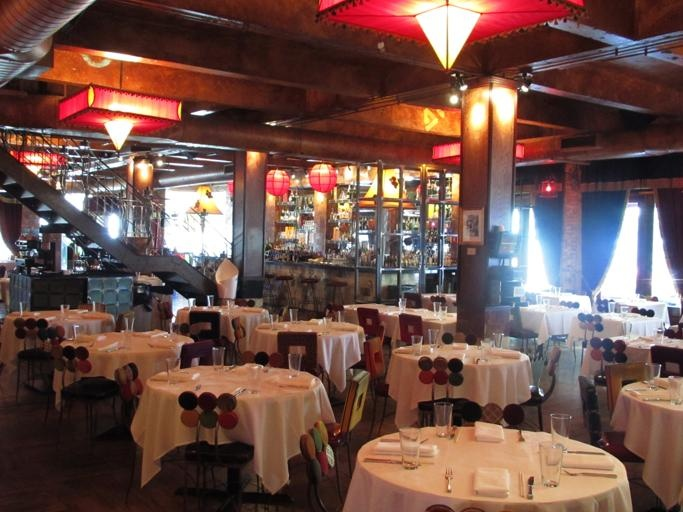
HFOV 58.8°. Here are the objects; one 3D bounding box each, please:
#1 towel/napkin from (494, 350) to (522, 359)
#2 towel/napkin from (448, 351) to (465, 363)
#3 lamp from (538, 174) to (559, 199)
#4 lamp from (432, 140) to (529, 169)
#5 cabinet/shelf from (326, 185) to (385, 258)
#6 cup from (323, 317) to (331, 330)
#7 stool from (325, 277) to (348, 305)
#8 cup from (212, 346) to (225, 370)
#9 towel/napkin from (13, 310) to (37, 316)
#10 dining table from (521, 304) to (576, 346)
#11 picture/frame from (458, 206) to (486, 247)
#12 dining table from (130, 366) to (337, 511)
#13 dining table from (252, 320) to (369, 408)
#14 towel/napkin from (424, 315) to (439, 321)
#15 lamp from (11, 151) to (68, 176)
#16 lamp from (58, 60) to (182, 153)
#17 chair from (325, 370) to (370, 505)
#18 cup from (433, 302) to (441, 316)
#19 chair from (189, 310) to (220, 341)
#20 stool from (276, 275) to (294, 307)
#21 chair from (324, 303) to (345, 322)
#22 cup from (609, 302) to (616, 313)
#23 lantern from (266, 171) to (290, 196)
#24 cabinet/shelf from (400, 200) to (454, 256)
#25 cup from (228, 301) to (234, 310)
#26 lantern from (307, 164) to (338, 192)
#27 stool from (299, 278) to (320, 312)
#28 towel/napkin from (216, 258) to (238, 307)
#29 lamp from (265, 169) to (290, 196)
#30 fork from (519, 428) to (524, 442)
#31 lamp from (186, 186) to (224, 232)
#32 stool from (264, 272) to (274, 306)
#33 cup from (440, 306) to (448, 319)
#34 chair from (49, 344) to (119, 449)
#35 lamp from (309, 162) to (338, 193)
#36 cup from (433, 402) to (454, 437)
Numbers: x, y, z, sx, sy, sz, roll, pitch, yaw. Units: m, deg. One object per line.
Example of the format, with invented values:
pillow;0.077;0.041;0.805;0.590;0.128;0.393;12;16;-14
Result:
towel/napkin;1.694;1.011;6.234;0.135;0.055;0.145;2;-1;3
towel/napkin;1.115;0.981;5.859;0.162;0.056;0.175;-5;1;7
lamp;4.867;-1.658;14.183;0.403;0.556;0.794;2;-2;20
lamp;2.583;-2.063;12.405;1.250;0.345;1.345;1;-1;-32
cabinet/shelf;0.359;-0.677;14.182;0.570;1.808;1.772;-3;-1;-27
cup;-0.191;0.863;7.721;0.091;0.164;0.128;-1;4;-21
stool;-0.127;0.822;14.197;0.529;0.752;0.524;2;-3;-26
cup;-1.108;0.922;5.466;0.100;0.175;0.237;3;-1;-13
towel/napkin;-4.180;0.774;8.021;0.224;0.066;0.232;3;1;41
dining table;3.405;1.051;9.896;0.625;0.395;0.716;-3;4;-14
picture/frame;1.869;-0.427;8.607;0.048;0.703;0.520;3;-2;-35
dining table;-0.831;1.308;4.956;1.198;0.720;1.294;1;-3;9
dining table;-0.314;1.165;7.388;1.047;0.643;1.042;5;-3;-40
towel/napkin;1.282;0.874;8.653;0.226;0.048;0.367;3;-2;-3
lamp;-6.522;-2.016;13.070;0.540;0.330;1.221;-11;21;-43
lamp;-3.339;-2.076;9.017;1.136;1.351;1.205;5;-7;-33
chair;-0.073;1.478;5.089;0.504;0.958;0.461;3;-2;14
cup;1.355;0.755;8.573;0.078;0.195;0.317;2;-2;5
chair;-1.723;0.872;7.653;0.352;0.414;0.363;3;0;-14
stool;-1.485;0.894;15.815;0.439;0.675;0.866;3;-1;-7
chair;-0.094;0.812;8.485;0.264;0.308;0.239;-1;5;4
cup;4.340;0.829;9.740;0.119;0.206;0.118;0;10;0
lantern;-1.572;-1.815;14.998;0.511;0.615;0.549;3;10;-6
cabinet/shelf;1.861;-0.644;13.673;1.045;1.158;0.347;2;4;-21
cup;-1.635;0.722;8.916;0.100;0.175;0.100;1;6;0
lantern;-0.419;-1.717;13.615;0.536;0.674;0.580;-1;2;3
stool;-0.790;0.948;15.109;0.653;0.994;0.664;1;-3;-34
towel/napkin;-2.319;0.567;12.360;0.332;0.631;0.412;-17;-19;23
lamp;-1.571;-1.832;14.992;0.538;0.649;0.579;3;8;-6
fork;1.292;1.297;4.364;0.018;0.054;0.051;-21;-25;5
lamp;-3.971;-1.482;17.570;0.898;1.189;1.094;6;21;3
stool;-1.962;0.958;16.477;0.216;0.669;0.618;2;-1;-10
cup;1.487;0.830;8.838;0.134;0.240;0.144;-1;1;0
chair;-2.601;1.286;6.160;0.417;0.857;0.495;3;5;18
lamp;-0.413;-1.733;13.598;0.542;0.683;0.589;-1;0;2
cup;0.727;1.185;4.348;0.139;0.247;0.140;1;-11;0
